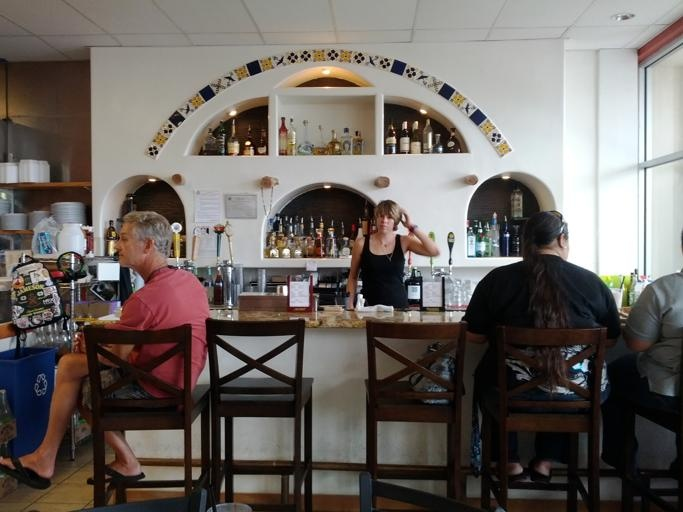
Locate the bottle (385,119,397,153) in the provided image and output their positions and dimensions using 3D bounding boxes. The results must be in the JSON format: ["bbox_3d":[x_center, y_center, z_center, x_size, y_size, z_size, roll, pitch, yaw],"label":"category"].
[{"bbox_3d":[0.484,-1.169,6.185,0.114,0.350,0.294,0,1,3],"label":"bottle"}]

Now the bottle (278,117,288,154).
[{"bbox_3d":[-0.587,-1.199,6.217,0.093,0.403,0.222,0,1,-6],"label":"bottle"}]

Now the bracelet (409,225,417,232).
[{"bbox_3d":[0.595,-0.236,5.252,0.049,0.036,0.049,-1,9,-7],"label":"bracelet"}]

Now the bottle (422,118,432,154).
[{"bbox_3d":[0.848,-1.203,6.192,0.092,0.378,0.209,0,1,8],"label":"bottle"}]

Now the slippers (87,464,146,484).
[{"bbox_3d":[-1.371,1.350,3.882,0.353,0.135,0.119,4,-6,-10],"label":"slippers"}]

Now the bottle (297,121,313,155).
[{"bbox_3d":[-0.362,-1.190,6.227,0.146,0.383,0.243,0,1,-4],"label":"bottle"}]

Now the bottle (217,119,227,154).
[{"bbox_3d":[-1.200,-1.190,6.282,0.092,0.364,0.226,0,1,-11],"label":"bottle"}]

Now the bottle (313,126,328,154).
[{"bbox_3d":[-0.212,-1.171,6.262,0.132,0.314,0.187,0,1,-3],"label":"bottle"}]

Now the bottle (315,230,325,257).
[{"bbox_3d":[-0.220,-0.141,6.314,0.089,0.274,0.233,1,1,8],"label":"bottle"}]

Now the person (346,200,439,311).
[{"bbox_3d":[0.403,-0.017,5.242,0.768,0.882,0.496,0,1,-12],"label":"person"}]

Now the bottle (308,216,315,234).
[{"bbox_3d":[-0.308,-0.320,6.445,0.055,0.193,0.038,0,1,-5],"label":"bottle"}]

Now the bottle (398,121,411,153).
[{"bbox_3d":[0.613,-1.183,6.163,0.100,0.357,0.332,0,1,5],"label":"bottle"}]

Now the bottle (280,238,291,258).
[{"bbox_3d":[-0.561,-0.090,6.206,0.096,0.196,0.203,1,1,7],"label":"bottle"}]

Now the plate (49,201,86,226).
[{"bbox_3d":[-2.729,-0.459,6.289,0.289,0.216,0.289,3,3,20],"label":"plate"}]

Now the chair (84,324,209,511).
[{"bbox_3d":[-1.153,0.972,3.780,0.746,1.166,0.514,0,1,-22],"label":"chair"}]

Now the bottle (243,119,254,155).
[{"bbox_3d":[-0.922,-1.169,6.242,0.113,0.362,0.338,0,1,-9],"label":"bottle"}]

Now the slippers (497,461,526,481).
[{"bbox_3d":[1.086,1.349,3.922,0.075,0.074,0.204,-3,-11,4],"label":"slippers"}]

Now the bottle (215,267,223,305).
[{"bbox_3d":[-1.171,0.288,5.959,0.087,0.350,0.129,0,1,-12],"label":"bottle"}]

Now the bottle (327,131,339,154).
[{"bbox_3d":[-0.075,-1.135,6.207,0.126,0.282,0.249,0,1,-2],"label":"bottle"}]

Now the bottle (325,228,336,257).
[{"bbox_3d":[-0.110,-0.150,6.328,0.115,0.292,0.225,0,1,-2],"label":"bottle"}]

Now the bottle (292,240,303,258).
[{"bbox_3d":[-0.442,-0.077,6.204,0.106,0.171,0.176,0,1,-4],"label":"bottle"}]

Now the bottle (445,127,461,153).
[{"bbox_3d":[1.073,-1.131,6.140,0.160,0.250,0.168,0,1,0],"label":"bottle"}]

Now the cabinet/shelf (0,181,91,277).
[{"bbox_3d":[-2.663,-0.246,5.640,0.908,0.843,0.290,-1,-2,-4],"label":"cabinet/shelf"}]

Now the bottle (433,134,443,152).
[{"bbox_3d":[0.944,-1.115,6.146,0.099,0.237,0.258,1,1,8],"label":"bottle"}]

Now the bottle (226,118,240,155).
[{"bbox_3d":[-1.078,-1.192,6.237,0.120,0.408,0.334,0,1,-10],"label":"bottle"}]

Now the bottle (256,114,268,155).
[{"bbox_3d":[-0.804,-1.221,6.296,0.113,0.400,0.198,0,1,-9],"label":"bottle"}]

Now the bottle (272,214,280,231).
[{"bbox_3d":[-0.663,-0.353,6.409,0.057,0.181,0.123,1,1,12],"label":"bottle"}]

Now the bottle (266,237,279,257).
[{"bbox_3d":[-0.686,-0.083,6.151,0.118,0.195,0.159,1,1,16],"label":"bottle"}]

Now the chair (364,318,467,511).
[{"bbox_3d":[0.461,1.015,3.923,0.610,1.281,0.616,1,1,10],"label":"chair"}]

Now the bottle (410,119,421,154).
[{"bbox_3d":[0.719,-1.187,6.120,0.111,0.373,0.397,0,1,6],"label":"bottle"}]

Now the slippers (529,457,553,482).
[{"bbox_3d":[1.230,1.336,3.890,0.075,0.091,0.222,0,-9,4],"label":"slippers"}]

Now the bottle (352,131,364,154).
[{"bbox_3d":[0.152,-1.146,6.281,0.106,0.236,0.123,0,1,3],"label":"bottle"}]

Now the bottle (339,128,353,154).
[{"bbox_3d":[0.050,-1.148,6.201,0.114,0.310,0.247,0,1,0],"label":"bottle"}]

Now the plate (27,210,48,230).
[{"bbox_3d":[-3.039,-0.366,6.328,0.193,0.208,0.193,3,2,2],"label":"plate"}]

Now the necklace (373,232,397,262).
[{"bbox_3d":[0.353,-0.087,5.222,0.149,0.212,0.051,18,4,20],"label":"necklace"}]

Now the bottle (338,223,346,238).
[{"bbox_3d":[0.007,-0.274,6.424,0.055,0.159,0.033,0,1,-1],"label":"bottle"}]

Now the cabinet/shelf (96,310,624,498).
[{"bbox_3d":[-0.176,0.913,5.571,3.449,1.024,2.022,1,1,0],"label":"cabinet/shelf"}]

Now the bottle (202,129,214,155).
[{"bbox_3d":[-1.342,-1.148,6.269,0.171,0.247,0.084,1,1,27],"label":"bottle"}]
